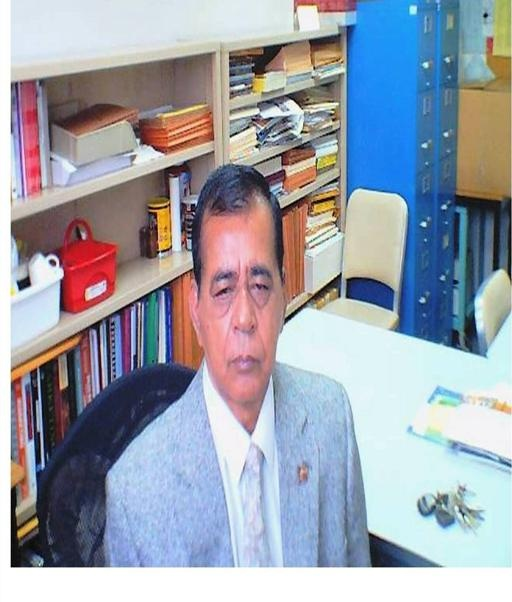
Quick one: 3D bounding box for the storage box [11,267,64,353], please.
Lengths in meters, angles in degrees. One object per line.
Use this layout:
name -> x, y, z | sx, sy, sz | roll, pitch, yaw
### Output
storage box -> -0.518, 0.017, 1.236 | 0.063, 0.150, 0.218 | 0, 12, 12
